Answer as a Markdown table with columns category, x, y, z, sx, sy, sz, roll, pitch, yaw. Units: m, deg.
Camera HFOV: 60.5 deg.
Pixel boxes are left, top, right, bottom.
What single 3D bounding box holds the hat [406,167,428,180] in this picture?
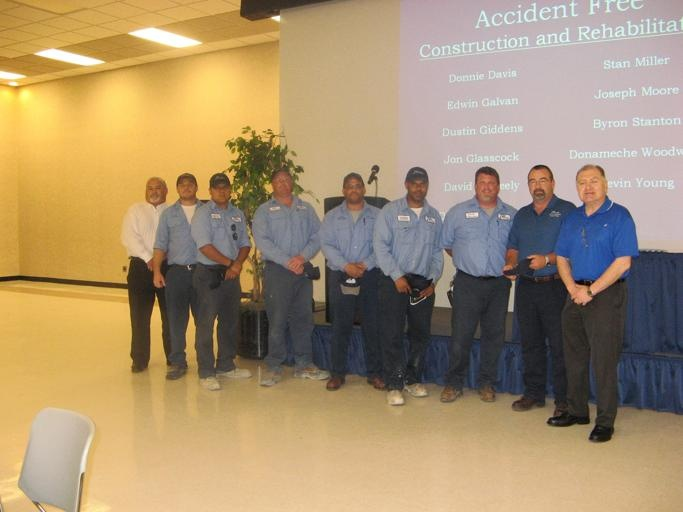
| category | x | y | z | sx | sy | sz | roll | pitch | yaw |
| --- | --- | --- | --- | --- | --- | --- | --- | --- | --- |
| hat | 0.619 | -0.670 | 4.769 | 0.155 | 0.097 | 0.158 | 4 | 9 | 31 |

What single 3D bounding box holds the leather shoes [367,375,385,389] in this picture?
| category | x | y | z | sx | sy | sz | roll | pitch | yaw |
| --- | --- | --- | --- | --- | --- | --- | --- | --- | --- |
| leather shoes | 0.297 | 1.084 | 5.020 | 0.069 | 0.077 | 0.158 | -3 | 2 | -30 |

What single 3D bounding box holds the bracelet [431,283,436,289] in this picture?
| category | x | y | z | sx | sy | sz | roll | pitch | yaw |
| --- | --- | --- | --- | --- | --- | --- | --- | --- | --- |
| bracelet | 0.741 | 0.242 | 4.768 | 0.046 | 0.017 | 0.067 | -1 | -19 | 8 |

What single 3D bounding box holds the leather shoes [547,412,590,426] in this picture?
| category | x | y | z | sx | sy | sz | roll | pitch | yaw |
| --- | --- | --- | --- | --- | --- | --- | --- | --- | --- |
| leather shoes | 1.631 | 1.185 | 4.301 | 0.311 | 0.127 | 0.116 | 3 | -2 | 3 |

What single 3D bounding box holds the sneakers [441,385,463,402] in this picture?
| category | x | y | z | sx | sy | sz | roll | pitch | yaw |
| --- | --- | --- | --- | --- | --- | --- | --- | --- | --- |
| sneakers | 0.889 | 1.119 | 4.779 | 0.089 | 0.084 | 0.188 | -3 | -8 | 33 |

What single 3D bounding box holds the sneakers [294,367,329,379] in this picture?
| category | x | y | z | sx | sy | sz | roll | pitch | yaw |
| --- | --- | --- | --- | --- | --- | --- | --- | --- | --- |
| sneakers | -0.276 | 1.053 | 5.287 | 0.232 | 0.106 | 0.119 | 0 | 0 | 3 |

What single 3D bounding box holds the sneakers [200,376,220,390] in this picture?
| category | x | y | z | sx | sy | sz | roll | pitch | yaw |
| --- | --- | --- | --- | --- | --- | --- | --- | --- | --- |
| sneakers | -1.134 | 1.096 | 5.067 | 0.188 | 0.091 | 0.142 | -1 | 8 | -5 |

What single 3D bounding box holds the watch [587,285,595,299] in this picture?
| category | x | y | z | sx | sy | sz | roll | pitch | yaw |
| --- | --- | --- | --- | --- | --- | --- | --- | --- | --- |
| watch | 1.685 | 0.247 | 3.990 | 0.024 | 0.068 | 0.058 | -1 | -3 | 1 |

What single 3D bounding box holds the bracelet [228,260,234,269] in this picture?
| category | x | y | z | sx | sy | sz | roll | pitch | yaw |
| --- | --- | --- | --- | --- | --- | --- | --- | --- | --- |
| bracelet | -0.970 | 0.070 | 5.174 | 0.038 | 0.064 | 0.096 | 1 | 8 | 17 |

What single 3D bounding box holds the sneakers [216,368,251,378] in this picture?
| category | x | y | z | sx | sy | sz | roll | pitch | yaw |
| --- | --- | --- | --- | --- | --- | --- | --- | --- | --- |
| sneakers | -0.975 | 1.077 | 5.400 | 0.312 | 0.126 | 0.116 | -1 | 2 | 7 |

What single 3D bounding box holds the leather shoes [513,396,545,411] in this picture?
| category | x | y | z | sx | sy | sz | roll | pitch | yaw |
| --- | --- | --- | --- | --- | --- | --- | --- | --- | --- |
| leather shoes | 1.459 | 1.144 | 4.607 | 0.252 | 0.116 | 0.102 | 1 | 0 | -17 |

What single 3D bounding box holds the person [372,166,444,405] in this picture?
| category | x | y | z | sx | sy | sz | roll | pitch | yaw |
| --- | --- | --- | --- | --- | --- | --- | --- | --- | --- |
| person | 0.571 | 0.234 | 4.749 | 0.584 | 1.867 | 0.400 | -2 | 7 | -9 |

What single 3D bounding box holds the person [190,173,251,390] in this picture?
| category | x | y | z | sx | sy | sz | roll | pitch | yaw |
| --- | --- | --- | --- | --- | --- | --- | --- | --- | --- |
| person | -1.082 | 0.205 | 5.222 | 0.411 | 1.846 | 0.639 | 2 | 8 | 22 |

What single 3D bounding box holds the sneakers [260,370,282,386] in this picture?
| category | x | y | z | sx | sy | sz | roll | pitch | yaw |
| --- | --- | --- | --- | --- | --- | --- | --- | --- | --- |
| sneakers | -0.619 | 1.084 | 5.195 | 0.095 | 0.079 | 0.186 | -2 | -8 | 17 |

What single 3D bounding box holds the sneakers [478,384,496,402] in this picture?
| category | x | y | z | sx | sy | sz | roll | pitch | yaw |
| --- | --- | --- | --- | --- | --- | --- | --- | --- | --- |
| sneakers | 1.180 | 1.115 | 4.740 | 0.078 | 0.066 | 0.155 | -1 | 1 | 2 |

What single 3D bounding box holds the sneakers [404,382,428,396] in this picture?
| category | x | y | z | sx | sy | sz | roll | pitch | yaw |
| --- | --- | --- | --- | --- | --- | --- | --- | --- | --- |
| sneakers | 0.612 | 1.109 | 4.871 | 0.096 | 0.070 | 0.175 | -3 | 3 | -39 |

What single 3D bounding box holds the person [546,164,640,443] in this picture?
| category | x | y | z | sx | sy | sz | roll | pitch | yaw |
| --- | --- | --- | --- | --- | --- | --- | --- | --- | --- |
| person | 1.736 | 0.315 | 4.119 | 0.341 | 1.877 | 0.545 | -6 | 9 | -37 |

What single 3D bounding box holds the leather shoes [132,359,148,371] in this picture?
| category | x | y | z | sx | sy | sz | roll | pitch | yaw |
| --- | --- | --- | --- | --- | --- | --- | --- | --- | --- |
| leather shoes | -1.923 | 1.041 | 5.602 | 0.153 | 0.107 | 0.126 | -5 | 8 | -25 |

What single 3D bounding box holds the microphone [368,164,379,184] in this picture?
| category | x | y | z | sx | sy | sz | roll | pitch | yaw |
| --- | --- | --- | --- | --- | --- | --- | --- | --- | --- |
| microphone | 0.298 | -0.800 | 5.657 | 0.100 | 0.100 | 0.334 | 8 | 34 | 9 |
